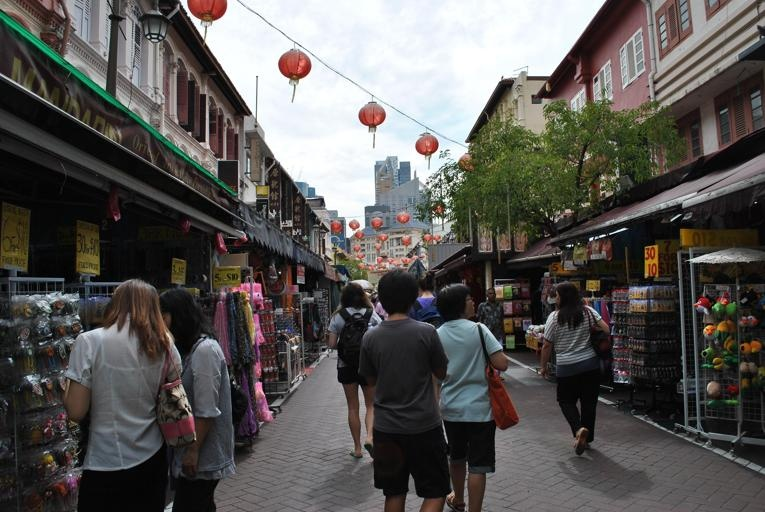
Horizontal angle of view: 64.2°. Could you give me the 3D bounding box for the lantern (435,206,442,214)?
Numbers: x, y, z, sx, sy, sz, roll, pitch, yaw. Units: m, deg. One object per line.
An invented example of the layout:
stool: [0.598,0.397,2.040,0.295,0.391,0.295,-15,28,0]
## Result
lantern: [2.318,-1.895,25.277,0.234,0.235,0.259,4,7,40]

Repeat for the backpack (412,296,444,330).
backpack: [0.665,0.885,9.357,0.356,0.530,0.530,3,-36,-25]

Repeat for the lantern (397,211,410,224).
lantern: [1.174,-2.525,38.880,0.780,0.786,0.854,-4,-3,13]

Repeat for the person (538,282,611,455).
person: [2.875,1.549,9.198,0.903,2.656,1.077,1,-1,3]

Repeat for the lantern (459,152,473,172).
lantern: [3.043,-3.531,22.844,0.467,0.782,1.015,-1,-5,1]

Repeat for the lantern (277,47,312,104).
lantern: [-1.760,-3.701,12.016,0.593,0.864,0.664,0,-5,-9]

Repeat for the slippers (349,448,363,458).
slippers: [-0.415,2.953,9.098,0.090,0.087,0.193,6,-1,-31]
